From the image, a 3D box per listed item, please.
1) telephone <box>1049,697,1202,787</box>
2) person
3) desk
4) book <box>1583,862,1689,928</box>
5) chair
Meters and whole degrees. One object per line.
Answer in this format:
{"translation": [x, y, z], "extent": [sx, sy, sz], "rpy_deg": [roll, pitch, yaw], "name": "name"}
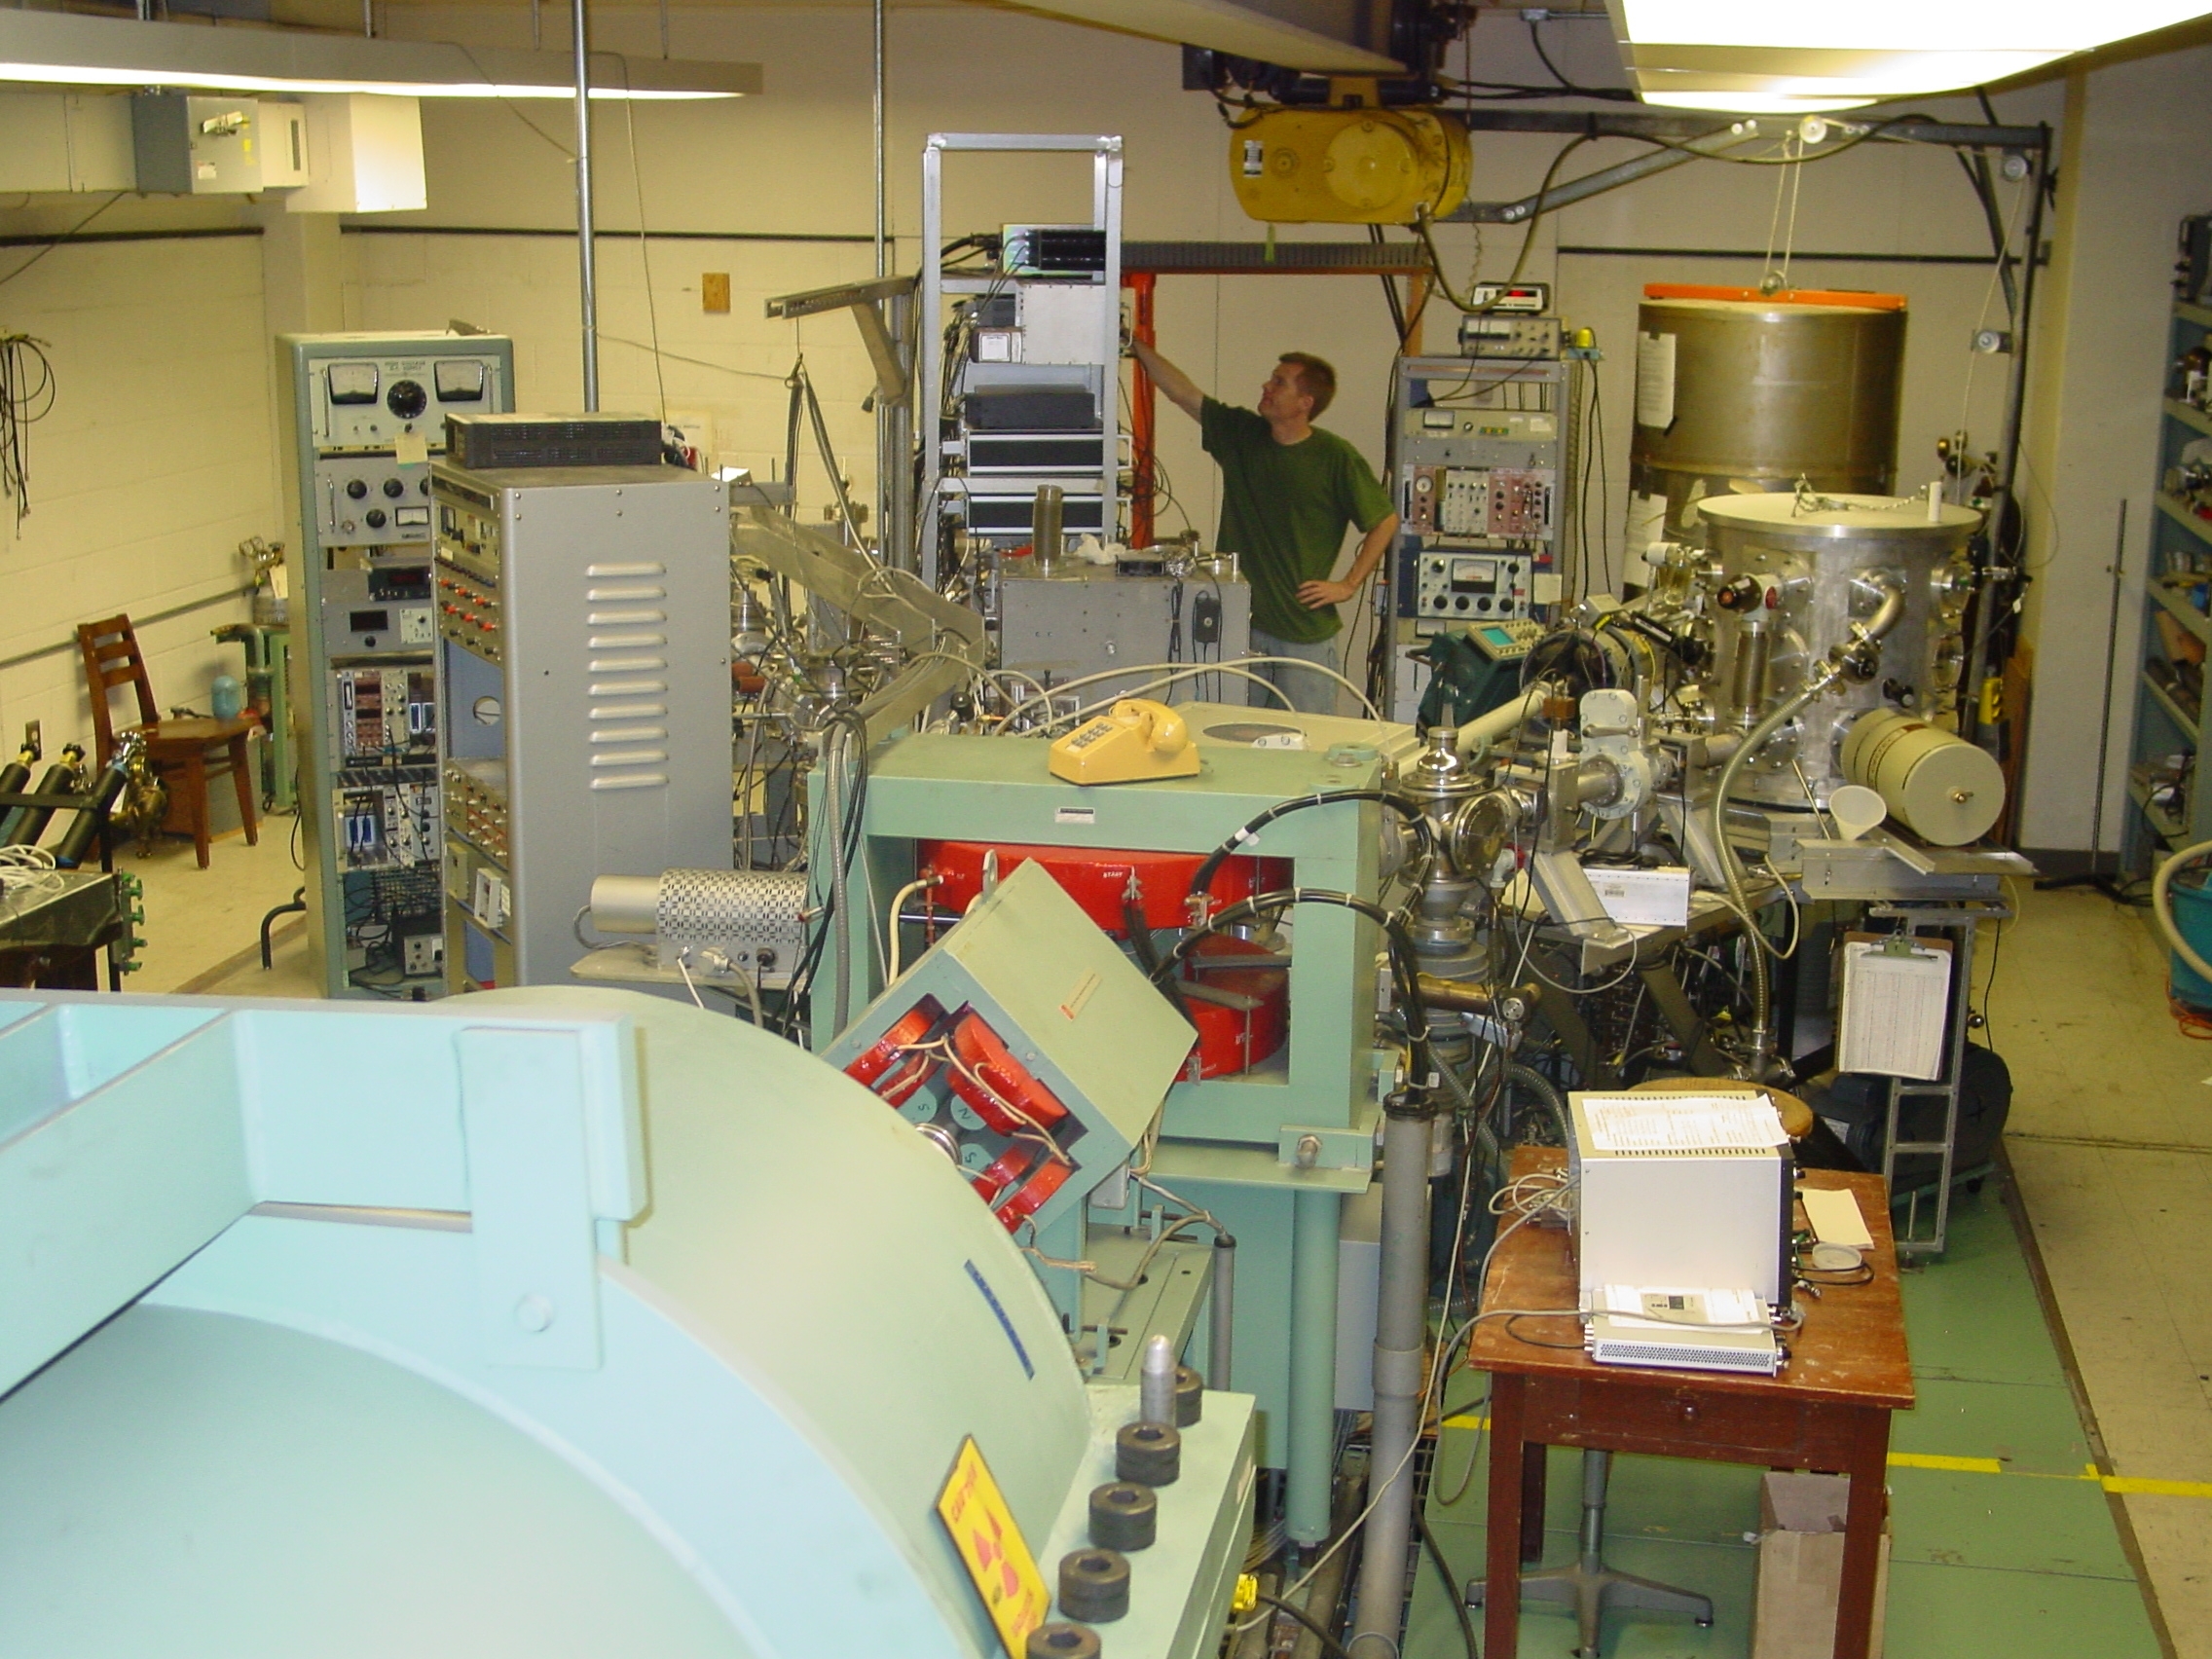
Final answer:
{"translation": [0.049, -0.186, 3.967], "extent": [0.205, 0.123, 0.218], "rpy_deg": [-2, 9, -6], "name": "telephone"}
{"translation": [0.820, -1.465, 8.710], "extent": [1.021, 1.387, 0.524], "rpy_deg": [2, 13, 8], "name": "person"}
{"translation": [1.150, 1.079, 3.853], "extent": [0.858, 0.847, 0.852], "rpy_deg": [2, 22, 8], "name": "desk"}
{"translation": [1.468, 0.169, 5.209], "extent": [0.280, 0.211, 0.156], "rpy_deg": [1, -1, 14], "name": "book"}
{"translation": [-4.366, -0.457, 8.922], "extent": [0.610, 1.053, 0.635], "rpy_deg": [3, 13, 0], "name": "chair"}
